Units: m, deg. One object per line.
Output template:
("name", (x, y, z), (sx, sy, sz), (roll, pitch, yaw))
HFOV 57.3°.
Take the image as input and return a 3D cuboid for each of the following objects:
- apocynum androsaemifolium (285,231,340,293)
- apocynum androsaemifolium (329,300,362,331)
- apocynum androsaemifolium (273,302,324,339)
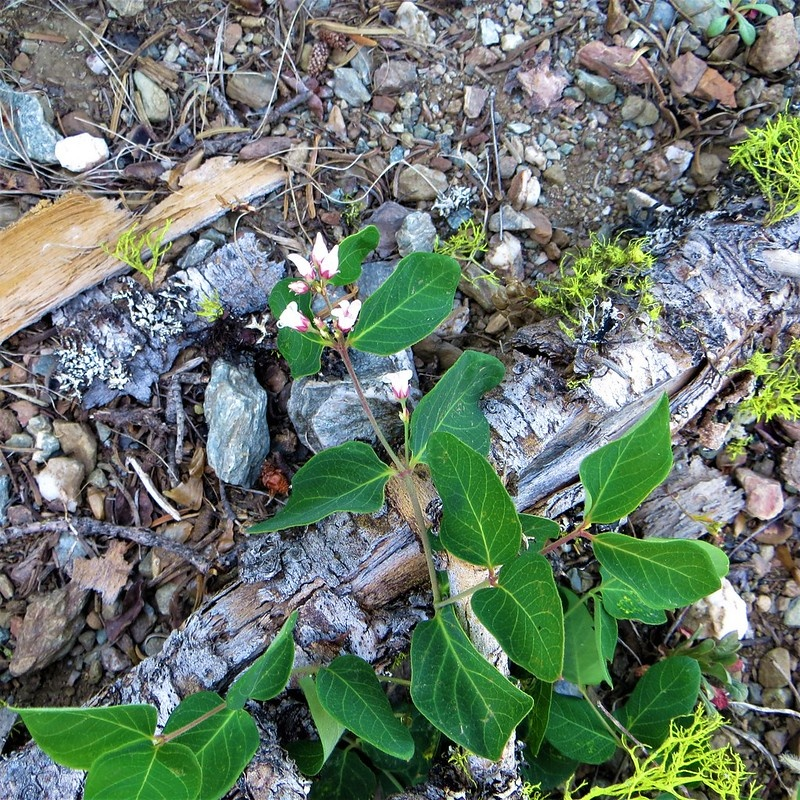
("apocynum androsaemifolium", (-0.258, -0.419, 2.385), (0.167, 0.175, 0.092), (-25, 108, -51))
("apocynum androsaemifolium", (-0.174, -0.274, 2.385), (0.080, 0.058, 0.121), (-13, 41, -7))
("apocynum androsaemifolium", (-0.323, -0.269, 2.434), (0.164, 0.062, 0.133), (27, 76, -35))
